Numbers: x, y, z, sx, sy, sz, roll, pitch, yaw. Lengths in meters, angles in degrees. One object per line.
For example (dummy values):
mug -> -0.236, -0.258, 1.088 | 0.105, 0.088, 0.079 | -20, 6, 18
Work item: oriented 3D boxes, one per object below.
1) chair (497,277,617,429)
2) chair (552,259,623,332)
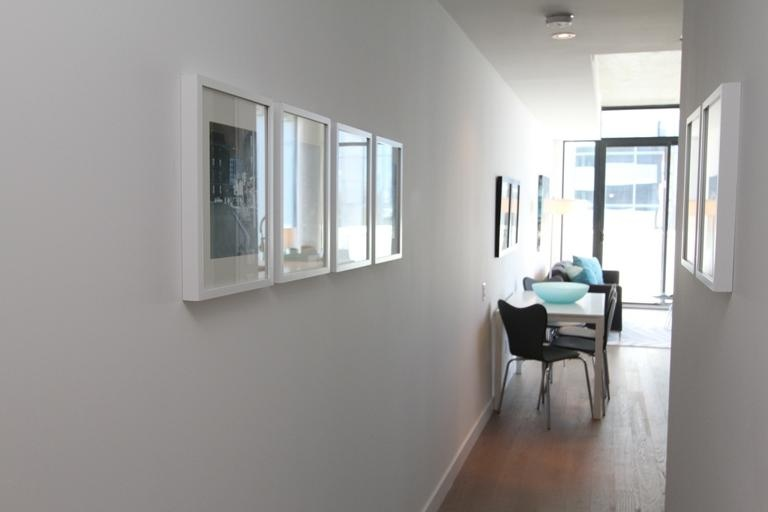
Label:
chair -> 1.653, 0.973, 5.093 | 1.021, 1.732, 1.088 | 4, 9, 43
chair -> 3.142, 0.194, 8.110 | 0.961, 1.309, 1.861 | 0, 3, 21
